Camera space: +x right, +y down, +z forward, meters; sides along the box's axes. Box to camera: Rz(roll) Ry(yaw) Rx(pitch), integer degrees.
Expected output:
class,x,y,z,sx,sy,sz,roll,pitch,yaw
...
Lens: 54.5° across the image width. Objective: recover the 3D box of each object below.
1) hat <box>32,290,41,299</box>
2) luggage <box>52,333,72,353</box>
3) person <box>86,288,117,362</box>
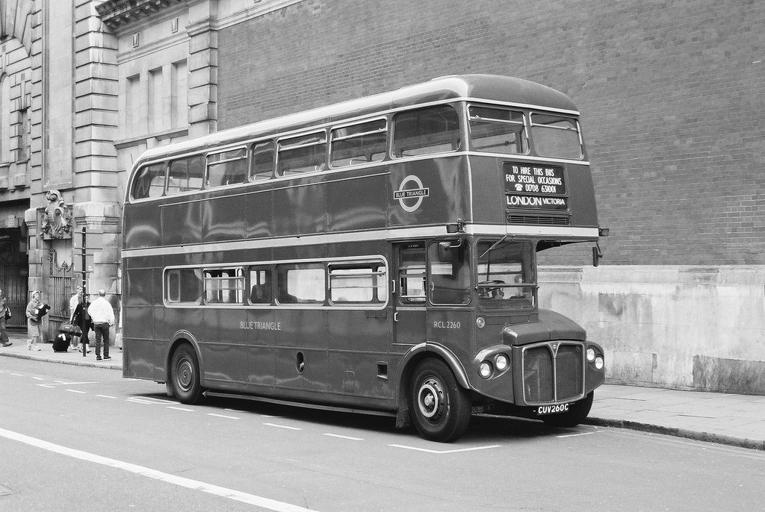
class,x,y,z,sx,sy,sz,roll,pitch,yaw
hat,-15.116,1.692,32.442,0.422,0.351,0.291,-12,-11,41
luggage,-12.779,3.491,29.708,0.566,0.752,0.411,19,11,-45
person,-10.188,2.491,27.115,0.868,2.496,0.749,4,7,5
